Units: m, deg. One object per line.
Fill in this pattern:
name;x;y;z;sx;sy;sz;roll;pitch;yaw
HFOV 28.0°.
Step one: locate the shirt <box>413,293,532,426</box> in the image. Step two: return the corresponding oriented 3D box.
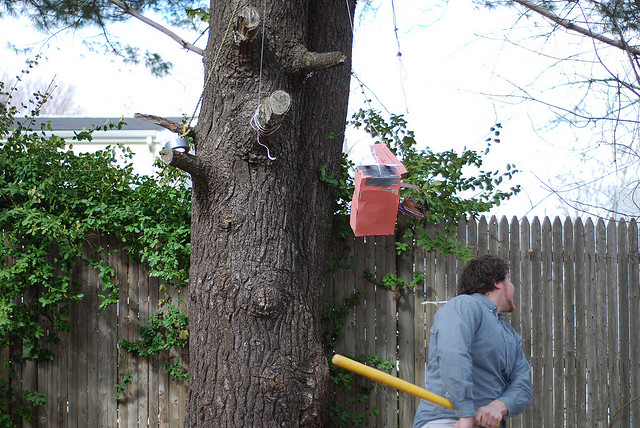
shirt;1.737;1.559;13.821;1.869;1.796;0.967;2;-1;3
